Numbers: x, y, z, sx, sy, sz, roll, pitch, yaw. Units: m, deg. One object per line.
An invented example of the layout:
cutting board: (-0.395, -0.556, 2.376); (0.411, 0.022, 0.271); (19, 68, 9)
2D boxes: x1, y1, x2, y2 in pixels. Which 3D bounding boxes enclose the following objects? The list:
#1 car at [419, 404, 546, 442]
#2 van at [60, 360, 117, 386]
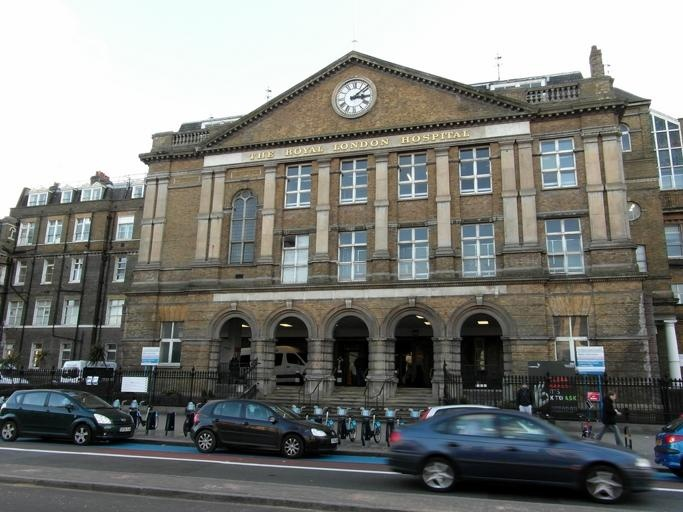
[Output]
car: (3.778, 4.567, 16.830); (3.031, 0.624, 1.129); (-3, -10, 12)
van: (-15.110, 6.734, 36.628); (3.235, 1.809, 4.254); (4, -22, -19)
